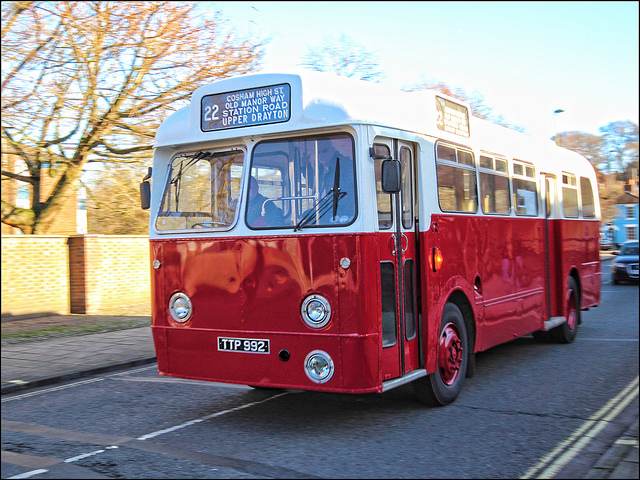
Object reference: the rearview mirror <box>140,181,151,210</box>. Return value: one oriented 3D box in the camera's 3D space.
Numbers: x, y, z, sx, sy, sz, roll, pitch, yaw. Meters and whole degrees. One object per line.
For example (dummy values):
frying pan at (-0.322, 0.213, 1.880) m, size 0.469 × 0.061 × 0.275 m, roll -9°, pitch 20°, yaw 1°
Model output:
rearview mirror at (-2.310, -0.607, 6.646) m, size 0.091 × 0.343 × 0.161 m, roll 0°, pitch -2°, yaw -29°

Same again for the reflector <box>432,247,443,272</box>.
reflector at (1.436, 0.259, 6.312) m, size 0.071 × 0.350 × 0.320 m, roll -10°, pitch -7°, yaw 34°

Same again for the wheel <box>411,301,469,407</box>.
wheel at (1.596, 1.522, 6.638) m, size 1.034 × 1.343 × 0.275 m, roll 0°, pitch -3°, yaw -42°

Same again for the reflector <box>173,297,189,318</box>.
reflector at (-1.652, 0.814, 5.957) m, size 0.251 × 0.235 × 0.015 m, roll -3°, pitch -2°, yaw 33°

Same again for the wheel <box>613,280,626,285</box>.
wheel at (14.441, 2.090, 24.575) m, size 0.491 × 0.236 × 1.282 m, roll -3°, pitch -3°, yaw 31°

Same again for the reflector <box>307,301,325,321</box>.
reflector at (-0.059, 0.759, 5.266) m, size 0.190 × 0.206 × 0.021 m, roll -3°, pitch -2°, yaw 28°

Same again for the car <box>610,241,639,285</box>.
car at (14.689, 1.218, 24.500) m, size 1.157 × 1.952 × 1.962 m, roll -3°, pitch -2°, yaw 30°

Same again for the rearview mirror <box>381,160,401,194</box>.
rearview mirror at (0.709, -0.687, 5.312) m, size 0.200 × 0.361 × 0.160 m, roll -2°, pitch -2°, yaw 15°

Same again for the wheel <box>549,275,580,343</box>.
wheel at (5.082, 1.519, 10.673) m, size 0.514 × 1.458 × 1.500 m, roll -3°, pitch 1°, yaw 28°
